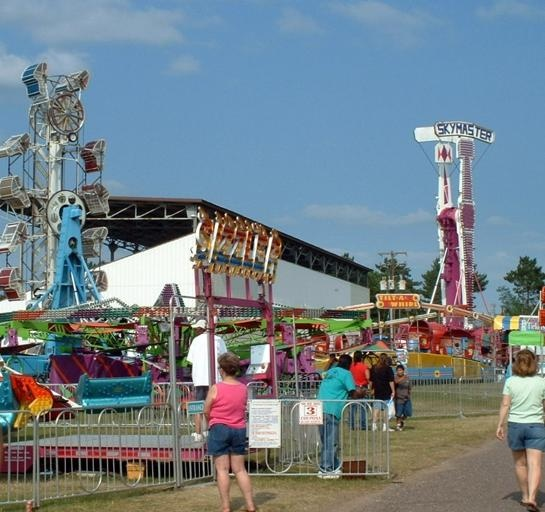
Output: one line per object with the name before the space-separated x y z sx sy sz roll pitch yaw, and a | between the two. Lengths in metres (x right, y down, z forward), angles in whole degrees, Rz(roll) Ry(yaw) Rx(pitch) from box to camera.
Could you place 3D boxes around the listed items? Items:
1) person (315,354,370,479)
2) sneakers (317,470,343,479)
person | 1.128 2.728 22.989 0.727 2.098 0.889 -2 -6 3
sneakers | 0.965 3.692 22.718 0.397 0.140 0.156 -1 -6 0
